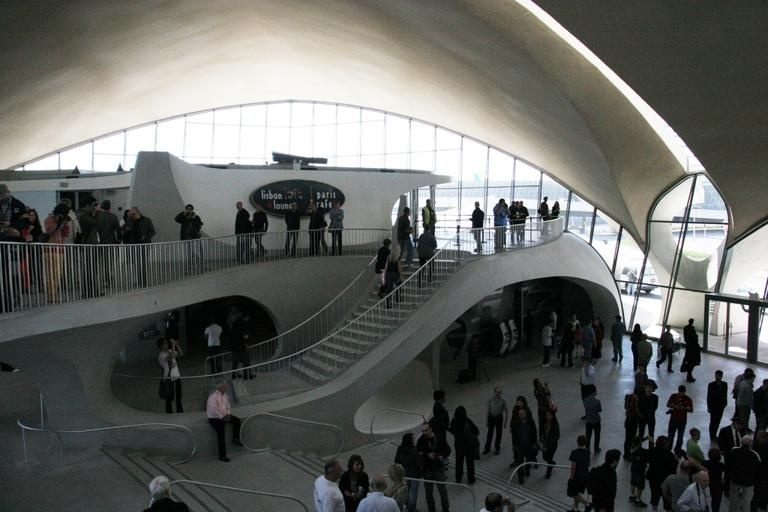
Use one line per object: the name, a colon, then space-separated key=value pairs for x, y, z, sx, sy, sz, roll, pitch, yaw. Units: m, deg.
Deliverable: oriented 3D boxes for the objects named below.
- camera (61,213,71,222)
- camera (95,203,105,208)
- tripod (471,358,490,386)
camera: x=-9.683 y=-1.180 z=16.892 sx=0.176 sy=0.245 sz=0.417 roll=-1 pitch=-4 yaw=0
camera: x=-9.346 y=-1.667 z=18.323 sx=0.441 sy=0.120 sz=0.434 roll=-2 pitch=6 yaw=-33
tripod: x=4.276 y=5.113 z=24.537 sx=0.799 sy=1.242 sz=0.912 roll=-6 pitch=-21 yaw=14
